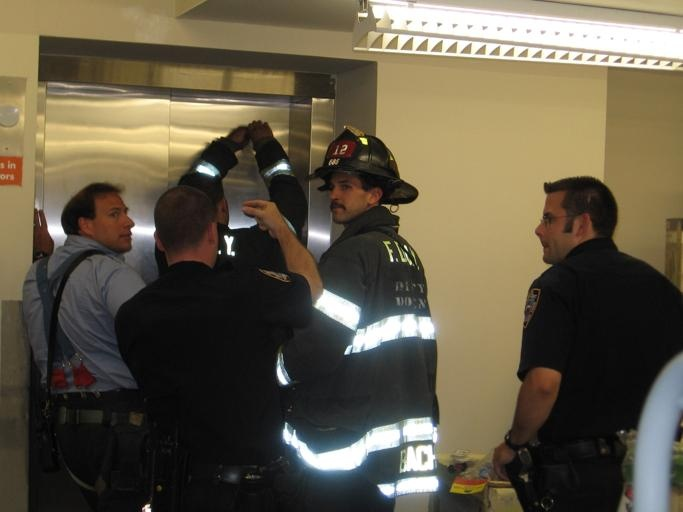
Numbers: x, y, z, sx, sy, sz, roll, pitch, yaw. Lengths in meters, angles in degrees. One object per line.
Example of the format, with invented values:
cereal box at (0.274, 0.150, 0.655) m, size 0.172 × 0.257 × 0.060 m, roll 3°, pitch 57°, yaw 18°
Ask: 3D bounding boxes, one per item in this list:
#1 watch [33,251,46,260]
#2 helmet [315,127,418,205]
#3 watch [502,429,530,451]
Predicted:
watch at (-1.830, 0.005, 4.451) m, size 0.055 × 0.043 × 0.059 m, roll 0°, pitch -7°, yaw -6°
helmet at (0.185, -0.426, 3.765) m, size 0.509 × 0.299 × 0.378 m, roll 24°, pitch -11°, yaw -21°
watch at (0.808, 0.871, 3.446) m, size 0.090 × 0.044 × 0.076 m, roll 10°, pitch -42°, yaw 12°
